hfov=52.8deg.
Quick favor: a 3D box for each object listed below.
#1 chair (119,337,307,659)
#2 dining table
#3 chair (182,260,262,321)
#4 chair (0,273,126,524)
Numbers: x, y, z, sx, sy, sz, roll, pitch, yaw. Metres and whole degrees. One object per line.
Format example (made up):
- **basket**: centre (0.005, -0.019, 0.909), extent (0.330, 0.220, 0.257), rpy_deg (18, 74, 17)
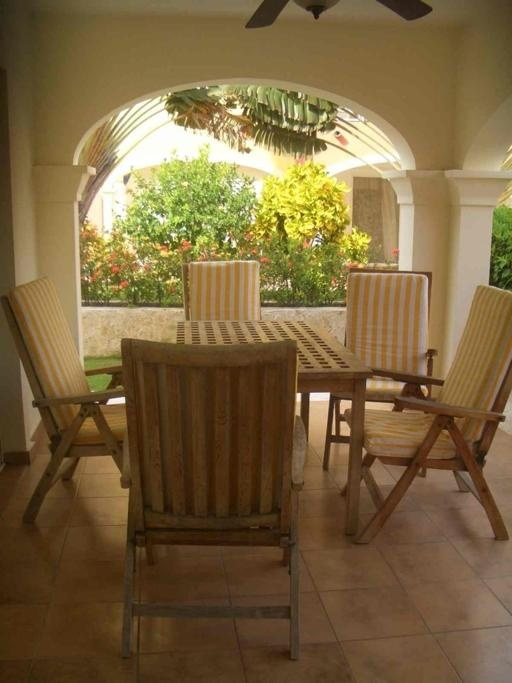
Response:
- **chair**: centre (-0.119, 0.454, 1.452), extent (0.531, 0.938, 0.376), rpy_deg (1, 5, 0)
- **dining table**: centre (0.006, 0.372, 3.178), extent (0.972, 0.929, 1.569), rpy_deg (5, 12, -11)
- **chair**: centre (-0.281, -0.514, 4.377), extent (0.546, 0.556, 0.567), rpy_deg (1, 18, -6)
- **chair**: centre (-0.918, 0.276, 2.514), extent (0.546, 1.169, 1.021), rpy_deg (-1, 5, -14)
